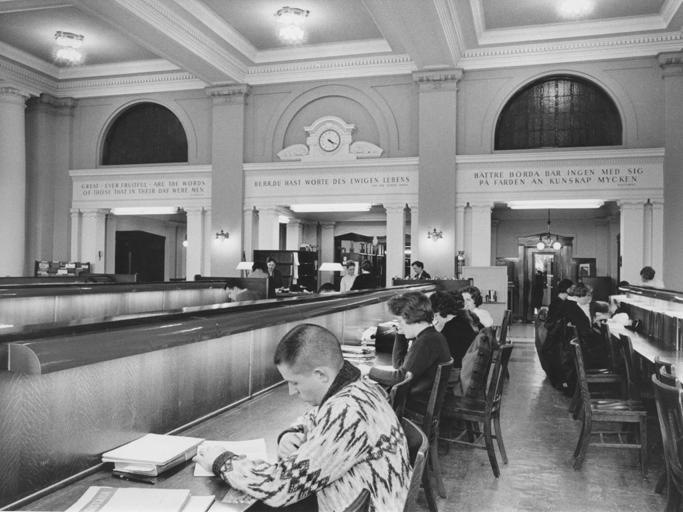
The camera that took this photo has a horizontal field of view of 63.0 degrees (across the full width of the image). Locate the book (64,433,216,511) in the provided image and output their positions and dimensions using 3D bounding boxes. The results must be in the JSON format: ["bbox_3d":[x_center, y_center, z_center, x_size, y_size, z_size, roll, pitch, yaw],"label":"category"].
[{"bbox_3d":[-0.975,1.064,2.755,0.525,0.113,0.684,3,3,-6],"label":"book"}]

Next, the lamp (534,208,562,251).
[{"bbox_3d":[6.387,-0.715,17.116,0.587,1.192,0.521,-6,-44,28],"label":"lamp"}]

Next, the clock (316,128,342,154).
[{"bbox_3d":[-0.284,-2.958,14.297,0.532,0.607,0.570,1,4,8],"label":"clock"}]
